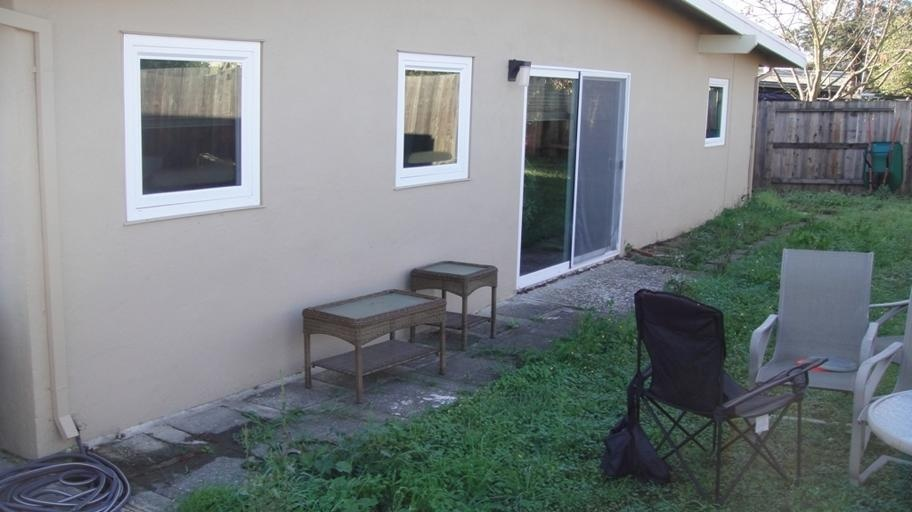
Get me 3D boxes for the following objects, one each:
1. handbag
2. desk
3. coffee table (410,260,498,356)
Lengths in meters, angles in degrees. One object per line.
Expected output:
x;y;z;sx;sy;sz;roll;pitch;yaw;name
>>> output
1.482;1.665;5.274;0.597;0.580;0.514;8;3;-17;handbag
-0.836;0.906;6.647;0.934;0.798;1.476;6;8;40;desk
0.010;0.600;7.748;1.063;1.017;1.021;5;8;37;coffee table
